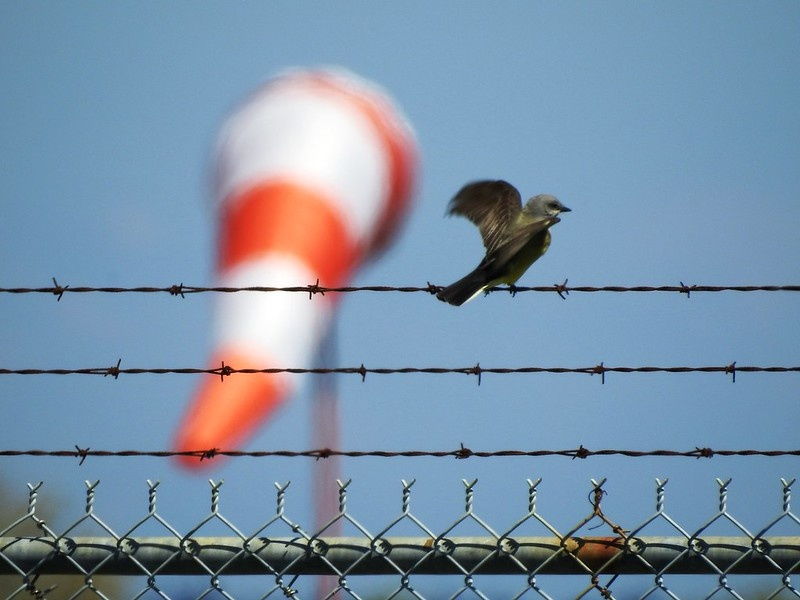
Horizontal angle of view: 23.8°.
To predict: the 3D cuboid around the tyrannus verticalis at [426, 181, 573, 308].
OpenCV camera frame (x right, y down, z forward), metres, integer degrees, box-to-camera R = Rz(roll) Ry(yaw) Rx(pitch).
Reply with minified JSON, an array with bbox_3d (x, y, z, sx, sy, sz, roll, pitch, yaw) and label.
[{"bbox_3d":[0.505,-0.283,9.752,0.737,0.900,0.448,-6,-73,-6],"label":"tyrannus verticalis"}]
